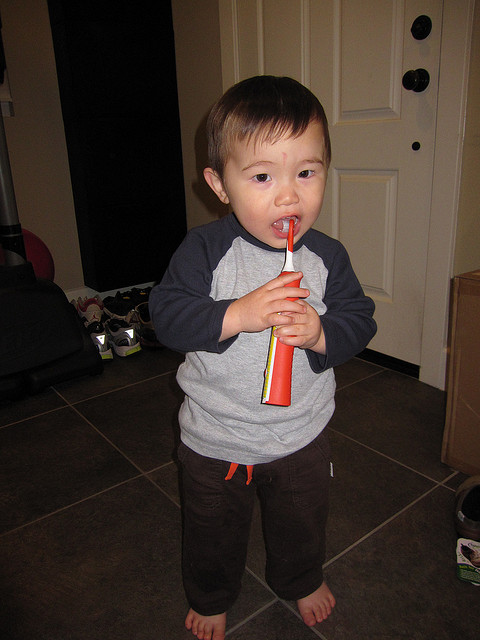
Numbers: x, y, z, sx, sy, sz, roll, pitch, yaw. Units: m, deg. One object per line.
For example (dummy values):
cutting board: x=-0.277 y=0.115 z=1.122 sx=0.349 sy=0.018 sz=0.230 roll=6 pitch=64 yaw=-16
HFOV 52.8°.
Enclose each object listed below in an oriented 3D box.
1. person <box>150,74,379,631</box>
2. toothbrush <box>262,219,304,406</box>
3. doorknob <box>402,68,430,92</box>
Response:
person: x=0.034 y=0.117 z=0.736 sx=0.268 sy=0.873 sz=0.302 roll=11 pitch=27 yaw=35
toothbrush: x=0.054 y=0.003 z=0.602 sx=0.047 sy=0.253 sz=0.148 roll=-1 pitch=23 yaw=12
doorknob: x=0.542 y=-0.737 z=1.495 sx=0.069 sy=0.067 sz=0.048 roll=-7 pitch=23 yaw=-3
